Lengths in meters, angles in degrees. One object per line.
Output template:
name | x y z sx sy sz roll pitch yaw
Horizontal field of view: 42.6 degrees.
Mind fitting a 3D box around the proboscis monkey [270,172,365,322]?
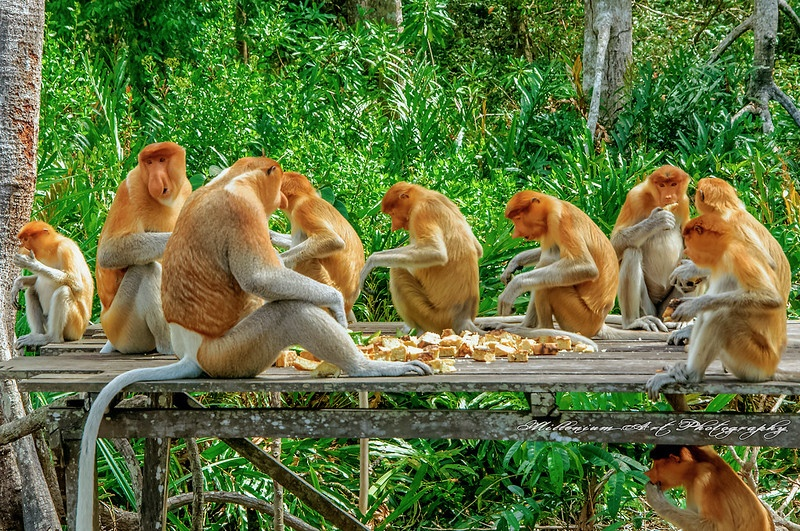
proboscis monkey | -0.795 0.014 9.171 0.943 1.678 0.972 -4 -3 -10

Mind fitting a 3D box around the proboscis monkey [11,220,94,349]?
proboscis monkey | -3.079 0.159 9.145 0.694 1.084 0.706 3 0 -12

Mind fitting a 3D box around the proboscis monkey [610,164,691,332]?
proboscis monkey | 2.287 -0.162 9.525 0.683 1.594 1.076 1 0 4

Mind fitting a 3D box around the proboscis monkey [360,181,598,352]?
proboscis monkey | 0.865 0.103 9.346 2.152 1.376 1.127 10 -5 4
